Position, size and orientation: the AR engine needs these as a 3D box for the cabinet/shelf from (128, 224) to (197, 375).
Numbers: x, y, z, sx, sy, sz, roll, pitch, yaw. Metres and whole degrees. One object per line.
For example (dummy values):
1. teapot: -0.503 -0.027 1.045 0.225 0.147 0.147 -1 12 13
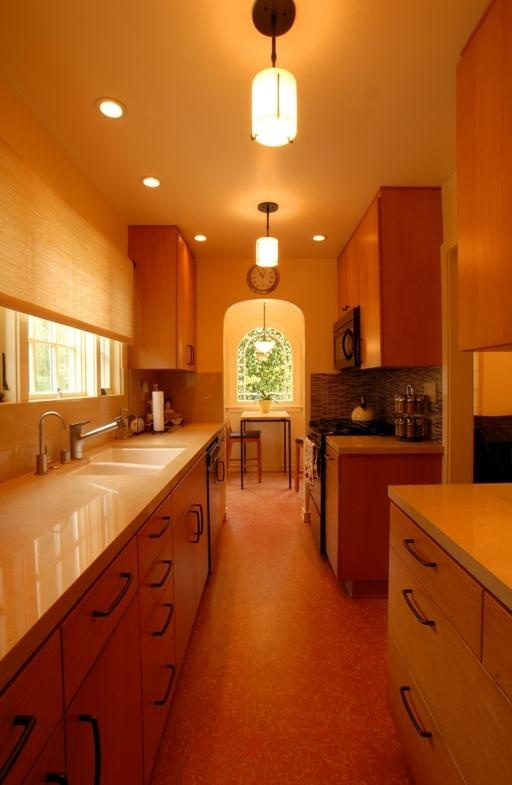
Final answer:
1. cabinet/shelf: -0.597 -0.591 3.306 0.243 0.776 0.751 -1 3 -1

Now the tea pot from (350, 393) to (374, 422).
1. tea pot: 0.733 0.096 3.657 0.144 0.204 0.165 0 0 -13

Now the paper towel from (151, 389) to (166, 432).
1. paper towel: -0.602 0.115 3.263 0.063 0.241 0.108 -1 4 -18

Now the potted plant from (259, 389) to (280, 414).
1. potted plant: 0.141 0.091 5.710 0.174 0.232 0.195 -3 -4 26

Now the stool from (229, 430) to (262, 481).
1. stool: -0.117 0.603 5.239 0.345 0.513 0.978 0 4 0

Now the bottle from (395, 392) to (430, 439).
1. bottle: 0.809 0.094 2.805 0.193 0.322 0.200 0 2 0

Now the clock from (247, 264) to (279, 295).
1. clock: 0.039 -0.854 4.014 0.202 0.273 0.026 -1 6 -1

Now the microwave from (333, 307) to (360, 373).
1. microwave: 0.591 -0.340 3.450 0.122 0.244 0.435 0 -2 2
